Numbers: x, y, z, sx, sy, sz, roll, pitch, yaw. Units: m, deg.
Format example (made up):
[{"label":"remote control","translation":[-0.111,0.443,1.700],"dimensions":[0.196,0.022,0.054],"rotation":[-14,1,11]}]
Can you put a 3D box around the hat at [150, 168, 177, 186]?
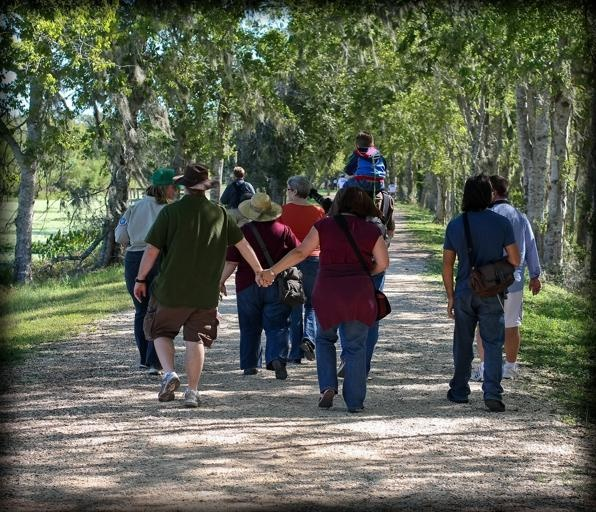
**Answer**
[{"label":"hat","translation":[-1.533,-0.905,10.449],"dimensions":[0.193,0.154,0.266],"rotation":[-5,3,-41]}]

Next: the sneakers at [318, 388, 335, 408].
[{"label":"sneakers","translation":[0.314,1.502,9.523],"dimensions":[0.113,0.250,0.099],"rotation":[5,41,-13]}]

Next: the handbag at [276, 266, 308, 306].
[{"label":"handbag","translation":[-0.047,0.353,10.671],"dimensions":[0.249,0.465,0.370],"rotation":[1,-4,33]}]

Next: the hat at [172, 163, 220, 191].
[{"label":"hat","translation":[-1.124,-0.824,9.639],"dimensions":[0.328,0.135,0.320],"rotation":[18,27,26]}]

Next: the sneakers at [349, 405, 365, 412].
[{"label":"sneakers","translation":[0.628,1.594,9.481],"dimensions":[0.123,0.121,0.072],"rotation":[5,-6,-39]}]

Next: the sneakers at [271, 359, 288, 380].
[{"label":"sneakers","translation":[-0.195,1.337,10.606],"dimensions":[0.136,0.258,0.185],"rotation":[-14,-7,-3]}]

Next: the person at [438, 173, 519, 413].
[{"label":"person","translation":[1.941,0.377,9.706],"dimensions":[0.796,2.460,0.625],"rotation":[4,9,18]}]

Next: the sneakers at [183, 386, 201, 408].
[{"label":"sneakers","translation":[-1.099,1.470,9.563],"dimensions":[0.180,0.186,0.304],"rotation":[0,9,-5]}]

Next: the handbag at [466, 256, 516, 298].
[{"label":"handbag","translation":[2.108,0.230,9.599],"dimensions":[0.526,0.375,0.233],"rotation":[-20,22,-4]}]

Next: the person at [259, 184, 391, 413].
[{"label":"person","translation":[0.483,0.456,9.413],"dimensions":[0.942,2.334,0.395],"rotation":[1,8,-1]}]

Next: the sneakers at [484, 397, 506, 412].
[{"label":"sneakers","translation":[2.090,1.566,9.572],"dimensions":[0.205,0.145,0.151],"rotation":[3,9,15]}]

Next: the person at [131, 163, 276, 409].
[{"label":"person","translation":[-1.099,0.308,9.548],"dimensions":[1.105,2.499,0.606],"rotation":[-1,8,-12]}]

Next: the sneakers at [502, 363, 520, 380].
[{"label":"sneakers","translation":[2.529,1.361,10.682],"dimensions":[0.146,0.189,0.414],"rotation":[-1,-4,19]}]

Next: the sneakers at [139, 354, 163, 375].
[{"label":"sneakers","translation":[-1.738,1.333,10.801],"dimensions":[0.136,0.187,0.409],"rotation":[5,-14,-23]}]
